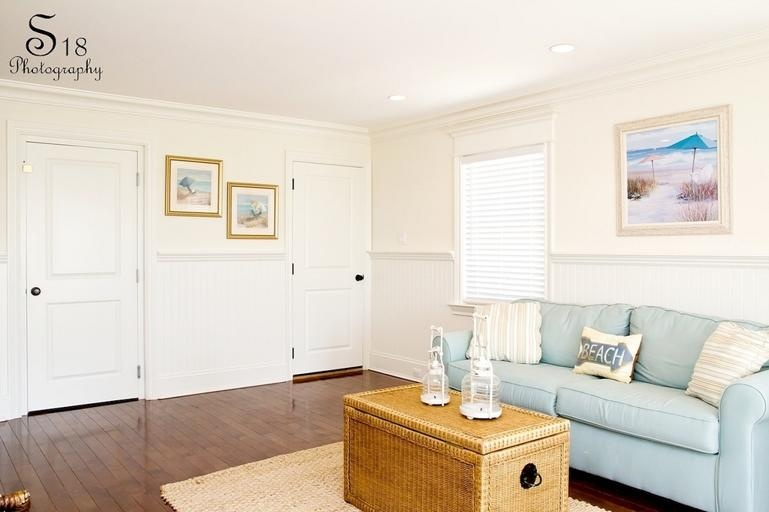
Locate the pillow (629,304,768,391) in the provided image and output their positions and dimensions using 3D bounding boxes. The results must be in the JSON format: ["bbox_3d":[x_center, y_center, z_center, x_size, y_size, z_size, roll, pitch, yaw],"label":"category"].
[{"bbox_3d":[2.308,0.692,3.646,0.215,0.414,0.612,41,-24,-32],"label":"pillow"}]

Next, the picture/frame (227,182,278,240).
[{"bbox_3d":[-1.594,-0.538,5.934,0.744,0.734,0.058,2,-3,-33],"label":"picture/frame"}]

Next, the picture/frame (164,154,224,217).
[{"bbox_3d":[-2.169,-0.793,5.612,0.754,0.749,0.078,-2,4,-30],"label":"picture/frame"}]
